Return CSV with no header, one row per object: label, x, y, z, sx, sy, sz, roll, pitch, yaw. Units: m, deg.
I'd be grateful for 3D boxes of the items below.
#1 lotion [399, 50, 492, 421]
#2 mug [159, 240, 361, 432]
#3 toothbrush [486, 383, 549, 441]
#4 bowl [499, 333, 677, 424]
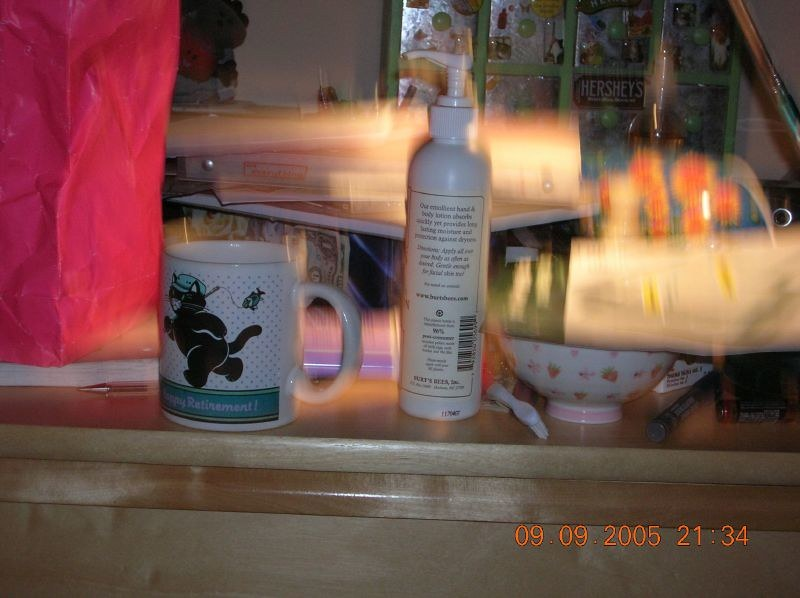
lotion,0.035,-0.029,0.547,0.067,0.245,0.070,3,21,7
mug,-0.105,0.038,0.557,0.149,0.121,0.095,1,-6,-3
toothbrush,0.091,0.084,0.561,0.018,0.018,0.076,-27,28,-9
bowl,0.173,0.069,0.589,0.110,0.065,0.113,-5,-3,0
